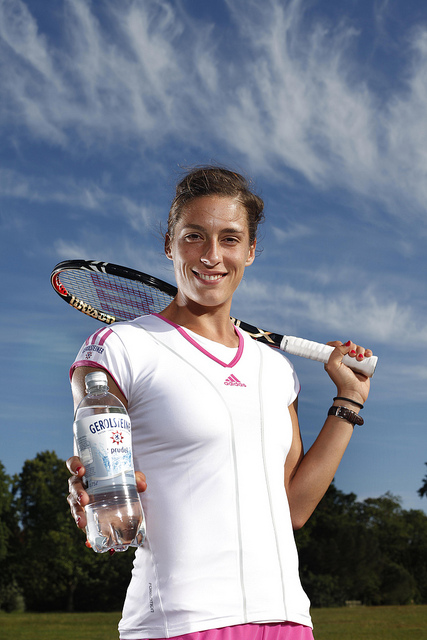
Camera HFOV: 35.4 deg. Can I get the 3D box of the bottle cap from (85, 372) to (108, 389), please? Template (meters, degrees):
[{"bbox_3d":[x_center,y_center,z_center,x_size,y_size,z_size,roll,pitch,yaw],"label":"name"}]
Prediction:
[{"bbox_3d":[-0.372,0.193,2.113,0.062,0.037,0.056,0,-5,-10],"label":"bottle cap"}]

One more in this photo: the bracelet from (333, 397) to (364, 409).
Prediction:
[{"bbox_3d":[0.637,0.391,3.144,0.132,0.069,0.180,-1,0,10],"label":"bracelet"}]

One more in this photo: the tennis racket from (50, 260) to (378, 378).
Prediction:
[{"bbox_3d":[-0.354,-0.140,4.068,2.476,0.615,0.180,14,30,30],"label":"tennis racket"}]
